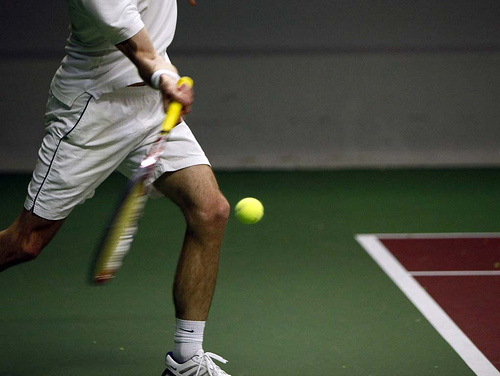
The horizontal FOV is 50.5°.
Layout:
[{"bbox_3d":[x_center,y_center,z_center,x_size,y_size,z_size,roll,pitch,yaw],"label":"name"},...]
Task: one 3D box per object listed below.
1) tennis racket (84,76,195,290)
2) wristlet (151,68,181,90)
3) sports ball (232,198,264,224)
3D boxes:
[{"bbox_3d":[-0.403,-0.010,1.898,0.175,0.713,0.521,16,-6,-14],"label":"tennis racket"},{"bbox_3d":[-0.280,-0.364,1.717,0.068,0.031,0.075,8,31,7],"label":"wristlet"},{"bbox_3d":[0.003,0.108,2.356,0.105,0.117,0.110,-1,-3,0],"label":"sports ball"}]
